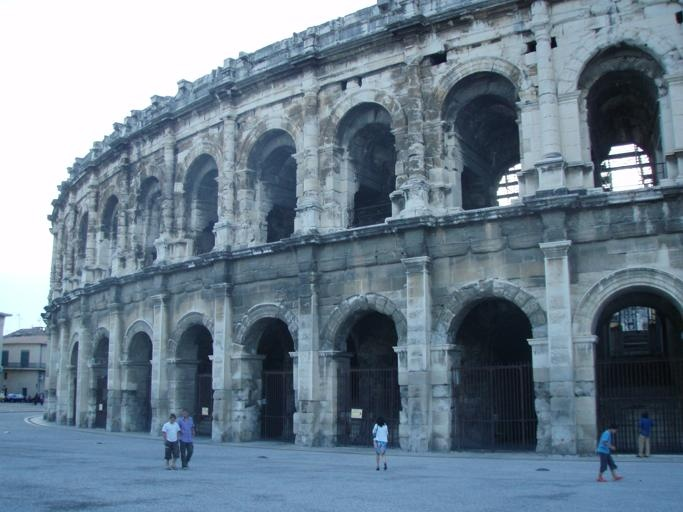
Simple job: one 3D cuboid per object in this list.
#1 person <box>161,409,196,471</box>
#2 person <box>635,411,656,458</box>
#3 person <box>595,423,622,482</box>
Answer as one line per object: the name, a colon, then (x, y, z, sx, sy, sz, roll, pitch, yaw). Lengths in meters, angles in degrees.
person: (-4.965, 5.573, 25.826, 0.884, 1.776, 0.864, 1, -15, -10)
person: (9.763, 5.736, 27.270, 0.507, 1.499, 1.785, -7, -16, 19)
person: (7.390, 5.447, 23.530, 0.620, 1.587, 2.032, -6, -16, 17)
